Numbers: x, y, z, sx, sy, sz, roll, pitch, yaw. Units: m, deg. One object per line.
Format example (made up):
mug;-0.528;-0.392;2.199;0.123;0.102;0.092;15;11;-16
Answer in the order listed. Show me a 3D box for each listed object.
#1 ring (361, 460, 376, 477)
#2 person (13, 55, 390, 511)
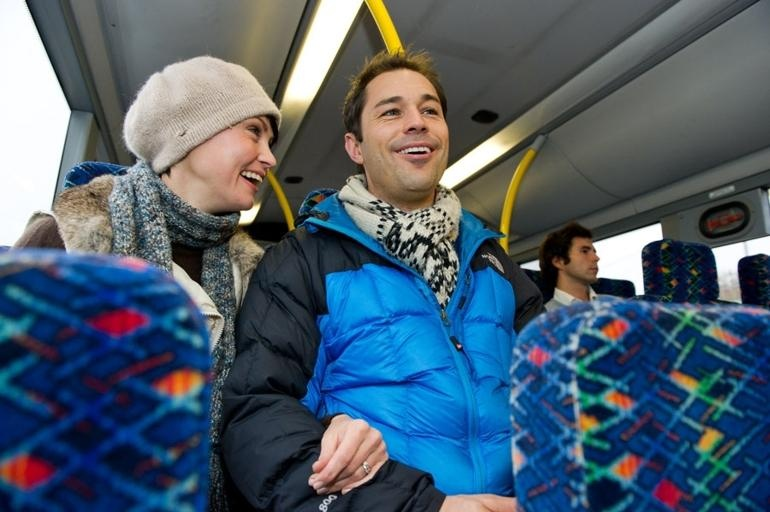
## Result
ring;-0.034;0.459;1.094;0.020;0.028;0.031;-27;-23;-4
person;-0.781;-0.072;2.366;1.179;2.243;1.154;-13;-7;11
